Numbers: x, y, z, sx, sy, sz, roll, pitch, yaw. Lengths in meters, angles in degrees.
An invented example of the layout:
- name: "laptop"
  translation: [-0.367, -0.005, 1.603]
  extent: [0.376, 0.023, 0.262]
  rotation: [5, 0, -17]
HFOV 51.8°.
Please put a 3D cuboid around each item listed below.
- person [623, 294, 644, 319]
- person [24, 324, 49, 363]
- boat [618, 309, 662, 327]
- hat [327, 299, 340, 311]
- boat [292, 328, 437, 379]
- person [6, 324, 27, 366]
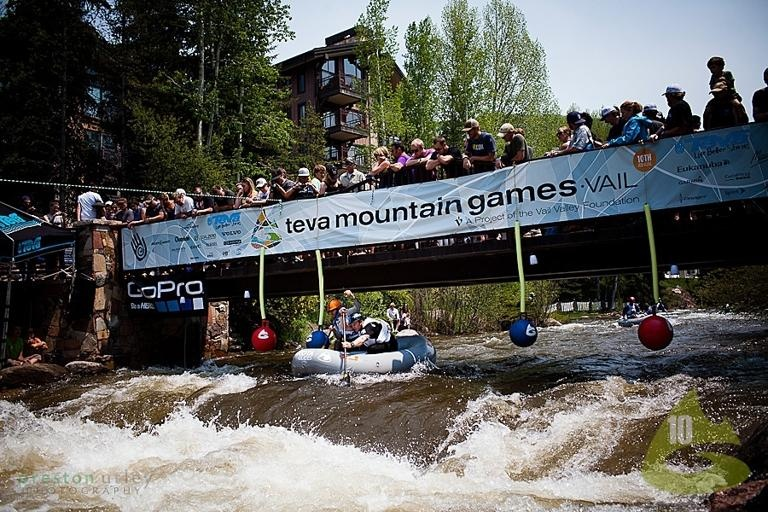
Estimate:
- name: "person"
  translation: [13.532, 2.733, 42.938]
  extent: [0.534, 1.404, 0.838]
  rotation: [1, 5, -8]
- name: "person"
  translation: [-11.326, 2.851, 25.443]
  extent: [0.652, 1.170, 0.780]
  rotation: [-18, -10, 16]
- name: "boat"
  translation: [9.538, 2.315, 29.671]
  extent: [1.132, 0.736, 2.061]
  rotation: [-6, -5, 6]
- name: "hat"
  translation: [-1.521, 1.441, 23.445]
  extent: [0.368, 0.222, 0.304]
  rotation: [-5, -3, 13]
- name: "boat"
  translation: [-0.571, 2.962, 22.550]
  extent: [2.557, 1.017, 1.793]
  rotation: [2, -8, -15]
- name: "person"
  translation: [-11.729, 2.823, 25.066]
  extent: [0.505, 1.209, 0.887]
  rotation: [-1, -5, -26]
